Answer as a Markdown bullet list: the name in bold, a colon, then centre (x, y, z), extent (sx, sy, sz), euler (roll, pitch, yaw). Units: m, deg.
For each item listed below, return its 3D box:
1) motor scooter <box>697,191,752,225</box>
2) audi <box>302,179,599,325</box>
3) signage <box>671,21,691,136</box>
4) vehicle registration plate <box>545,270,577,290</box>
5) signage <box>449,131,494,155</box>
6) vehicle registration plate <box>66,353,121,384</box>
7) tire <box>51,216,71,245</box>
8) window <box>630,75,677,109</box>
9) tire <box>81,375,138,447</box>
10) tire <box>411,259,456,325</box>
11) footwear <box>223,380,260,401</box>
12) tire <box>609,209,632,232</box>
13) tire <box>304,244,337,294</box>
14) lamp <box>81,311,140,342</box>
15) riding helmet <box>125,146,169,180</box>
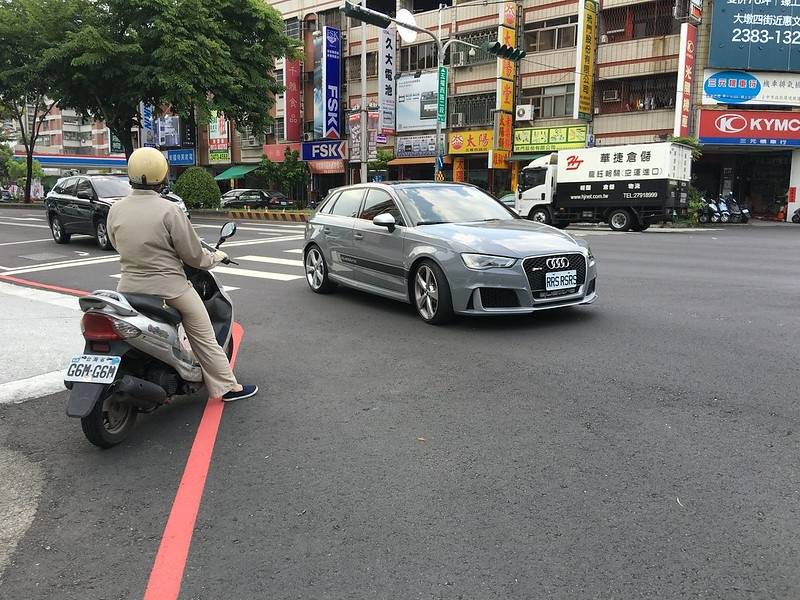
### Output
- **motor scooter**: centre (15.958, -4.261, 28.025), extent (2.664, 1.209, 1.065), euler (-7, 13, -24)
- **audi**: centre (0.362, -0.557, 7.953), extent (1.859, 1.446, 3.981), euler (-5, 9, -38)
- **signage**: centre (14.290, -10.828, 28.415), extent (0.646, 5.359, 1.964), euler (8, 15, 36)
- **vehicle registration plate**: centre (1.895, -0.214, 6.634), extent (0.472, 0.217, 0.028), euler (-8, 13, -27)
- **signage**: centre (4.543, -9.543, 35.076), extent (2.070, 1.011, 0.261), euler (3, 4, 44)
- **vehicle registration plate**: centre (-2.043, 0.473, 3.799), extent (0.342, 0.179, 0.180), euler (1, 12, 11)
- **tire**: centre (-9.873, -1.992, 16.561), extent (0.666, 0.724, 0.218), euler (20, 15, 41)
- **window**: centre (13.470, -10.820, 29.881), extent (0.100, 1.571, 2.130), euler (-15, 17, -41)
- **tire**: centre (-2.004, 0.760, 3.893), extent (0.135, 0.414, 0.371), euler (2, -23, 14)
- **tire**: centre (0.404, -0.089, 7.013), extent (0.212, 0.775, 0.758), euler (-10, 15, -36)
- **footwear**: centre (-1.342, 0.756, 4.802), extent (0.109, 0.106, 0.263), euler (13, 15, 41)
- **tire**: centre (8.912, -3.149, 22.836), extent (0.255, 0.796, 0.745), euler (-6, 23, -33)
- **tire**: centre (-1.228, -0.479, 8.982), extent (0.233, 0.607, 0.569), euler (0, 24, -46)
- **lamp**: centre (-1.997, 0.199, 3.852), extent (0.192, 0.115, 0.276), euler (-2, -19, 12)
- **riding helmet**: centre (-1.836, -0.981, 4.139), extent (0.228, 0.256, 0.314), euler (0, 51, -15)
